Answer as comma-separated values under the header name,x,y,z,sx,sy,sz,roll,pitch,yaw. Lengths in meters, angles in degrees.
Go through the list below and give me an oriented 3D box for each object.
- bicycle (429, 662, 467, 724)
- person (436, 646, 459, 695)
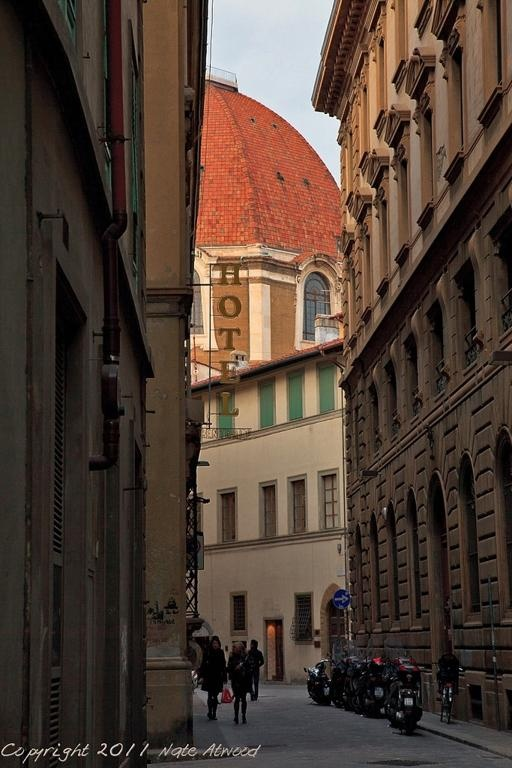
name,x,y,z,sx,sy,sz,roll,pitch,yaw
bicycle,2.894,4.492,19.877,0.332,0.882,1.092,1,-3,3
person,2.870,4.286,19.687,0.320,0.616,0.702,0,-4,5
